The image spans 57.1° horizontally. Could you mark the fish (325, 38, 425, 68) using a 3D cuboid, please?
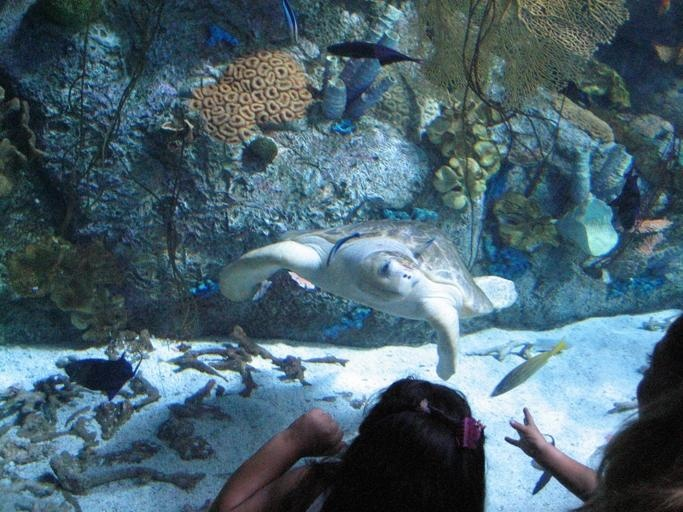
[{"bbox_3d":[0.256,-1.954,6.023,0.779,0.196,0.262,15,19,-8],"label":"fish"}]

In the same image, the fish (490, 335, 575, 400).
[{"bbox_3d":[1.955,1.104,6.942,1.031,0.713,0.697,4,21,-15],"label":"fish"}]

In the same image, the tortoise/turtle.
[{"bbox_3d":[0.331,0.346,6.768,2.789,1.398,1.060,15,19,-5],"label":"tortoise/turtle"}]
